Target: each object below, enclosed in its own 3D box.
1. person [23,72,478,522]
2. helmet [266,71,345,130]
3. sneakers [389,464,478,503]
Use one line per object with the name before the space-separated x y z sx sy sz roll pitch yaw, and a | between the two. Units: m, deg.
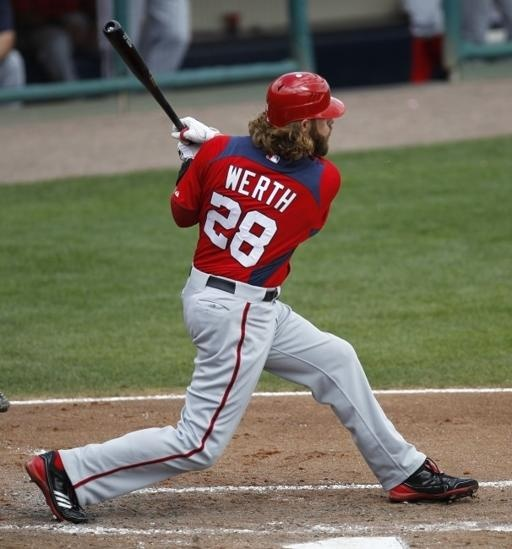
person | -0.037 0.092 4.557 1.681 1.797 0.413 -2 11 -11
helmet | 0.175 -0.694 4.512 0.325 0.146 0.199 -8 30 -9
sneakers | 0.732 0.887 4.768 0.426 0.166 0.146 -4 -5 -3
